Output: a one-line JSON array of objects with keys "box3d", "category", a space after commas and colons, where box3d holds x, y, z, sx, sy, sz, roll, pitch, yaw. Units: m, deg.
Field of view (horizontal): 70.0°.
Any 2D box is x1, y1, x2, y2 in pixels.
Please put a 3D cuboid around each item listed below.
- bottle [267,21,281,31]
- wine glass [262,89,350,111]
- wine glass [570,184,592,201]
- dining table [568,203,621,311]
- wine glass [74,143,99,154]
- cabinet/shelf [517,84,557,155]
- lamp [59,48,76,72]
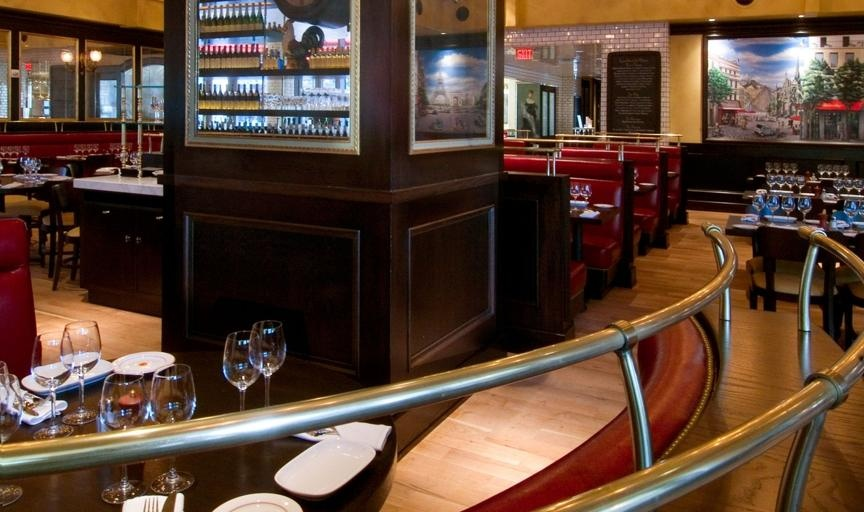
[{"box3d": [-0.982, -1.439, 3.827, 0.092, 0.025, 0.027, -5, 35, -2], "category": "bottle"}, {"box3d": [-0.784, -0.956, 3.765, 0.654, 0.140, 0.058, 10, 18, 26], "category": "wine glass"}, {"box3d": [1.509, -0.659, 6.283, 0.204, 0.155, 0.150, 9, 18, 23], "category": "wine glass"}, {"box3d": [1.437, 0.059, 5.666, 0.434, 0.942, 1.309, 6, 17, 15], "category": "dining table"}, {"box3d": [-6.056, -1.875, 10.749, 0.293, 0.266, 0.279, 0, 1, 0], "category": "wine glass"}, {"box3d": [2.929, -4.006, 17.785, 0.672, 1.732, 2.027, 5, 13, 25], "category": "cabinet/shelf"}, {"box3d": [-6.515, -3.543, 11.004, 0.249, 0.324, 0.629, -7, 19, -27], "category": "lamp"}]
